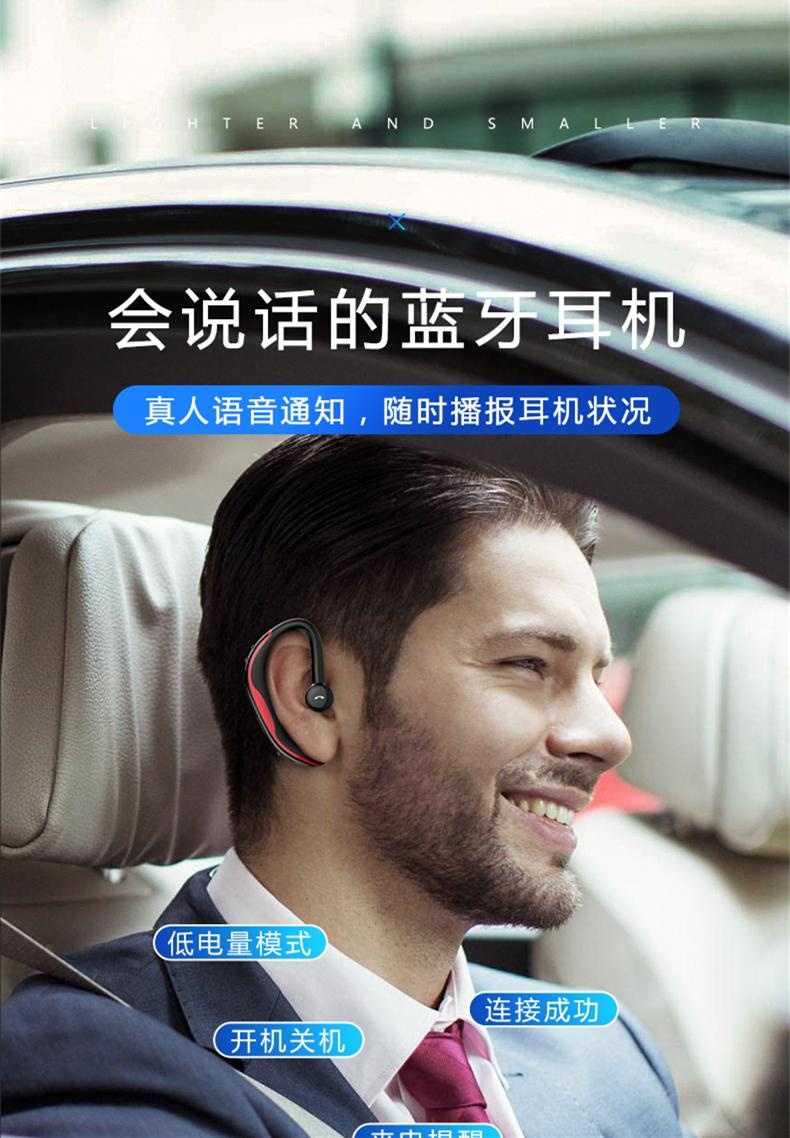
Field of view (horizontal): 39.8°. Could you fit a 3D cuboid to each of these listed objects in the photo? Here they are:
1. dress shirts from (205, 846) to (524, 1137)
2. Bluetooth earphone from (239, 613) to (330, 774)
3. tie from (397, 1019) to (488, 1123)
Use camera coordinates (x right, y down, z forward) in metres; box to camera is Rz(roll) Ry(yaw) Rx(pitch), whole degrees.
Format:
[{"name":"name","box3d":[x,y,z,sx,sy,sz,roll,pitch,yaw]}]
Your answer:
[{"name":"dress shirts","box3d":[-0.082,0.549,1.446,0.257,0.111,0.487,-23,76,-49]},{"name":"Bluetooth earphone","box3d":[-0.136,0.145,1.309,0.111,0.030,0.172,-11,97,9]},{"name":"tie","box3d":[0.074,0.650,1.417,0.119,0.036,0.104,31,90,22]}]
